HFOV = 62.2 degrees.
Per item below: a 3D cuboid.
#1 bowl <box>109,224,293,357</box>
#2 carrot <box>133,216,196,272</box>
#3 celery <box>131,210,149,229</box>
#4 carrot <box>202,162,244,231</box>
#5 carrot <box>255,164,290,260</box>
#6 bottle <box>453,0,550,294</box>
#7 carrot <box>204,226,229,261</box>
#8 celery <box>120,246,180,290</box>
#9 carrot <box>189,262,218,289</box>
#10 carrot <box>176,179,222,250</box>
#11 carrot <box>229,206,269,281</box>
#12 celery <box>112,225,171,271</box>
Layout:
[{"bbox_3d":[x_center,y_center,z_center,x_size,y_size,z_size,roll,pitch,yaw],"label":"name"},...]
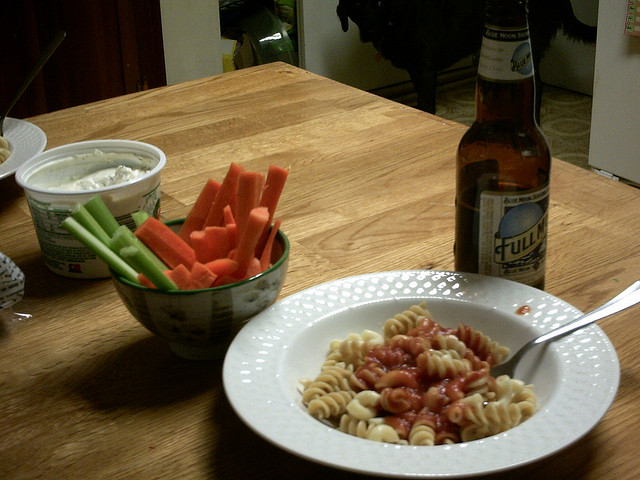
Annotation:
[{"bbox_3d":[-0.167,0.078,0.661,0.183,0.089,0.163,-4,19,-24],"label":"bowl"},{"bbox_3d":[-0.182,0.005,0.622,0.044,0.091,0.033,-50,11,-7],"label":"carrot"},{"bbox_3d":[-0.232,-0.026,0.702,0.024,0.019,0.022,-3,60,0],"label":"celery"},{"bbox_3d":[-0.131,-0.059,0.713,0.057,0.082,0.063,-2,26,-16],"label":"carrot"},{"bbox_3d":[-0.076,-0.036,0.669,0.037,0.106,0.050,-15,31,-38],"label":"carrot"},{"bbox_3d":[0.215,-0.084,0.601,0.116,0.341,0.144,3,39,13],"label":"bottle"},{"bbox_3d":[-0.125,0.005,0.639,0.041,0.043,0.026,-5,20,-6],"label":"carrot"},{"bbox_3d":[-0.182,0.031,0.563,0.026,0.087,0.020,-34,40,20],"label":"celery"},{"bbox_3d":[-0.132,0.043,0.590,0.025,0.025,0.029,5,36,15],"label":"carrot"},{"bbox_3d":[-0.159,-0.028,0.711,0.028,0.101,0.034,20,5,-3],"label":"carrot"},{"bbox_3d":[-0.085,0.006,0.626,0.038,0.117,0.028,-7,46,-41],"label":"carrot"},{"bbox_3d":[-0.203,0.010,0.601,0.012,0.076,0.010,-54,6,-19],"label":"celery"}]
